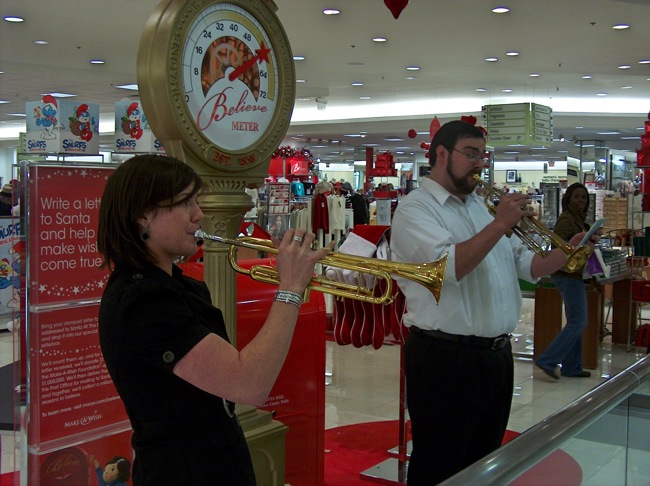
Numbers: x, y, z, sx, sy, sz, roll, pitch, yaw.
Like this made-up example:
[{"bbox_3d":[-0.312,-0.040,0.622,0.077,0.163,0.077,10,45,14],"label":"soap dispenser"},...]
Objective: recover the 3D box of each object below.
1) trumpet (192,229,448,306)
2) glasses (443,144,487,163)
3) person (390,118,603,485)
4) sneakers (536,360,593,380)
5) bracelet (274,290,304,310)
[{"bbox_3d":[0.004,0.102,2.076,0.815,0.282,0.213,15,-6,9],"label":"trumpet"},{"bbox_3d":[0.635,-0.407,2.398,0.103,0.039,0.112,9,3,-24],"label":"glasses"},{"bbox_3d":[0.660,0.275,2.393,0.690,1.680,0.584,0,2,-7],"label":"person"},{"bbox_3d":[2.395,1.293,5.449,0.369,0.168,0.105,14,-8,1],"label":"sneakers"},{"bbox_3d":[-0.086,0.143,1.375,0.050,0.030,0.049,9,-12,35],"label":"bracelet"}]
